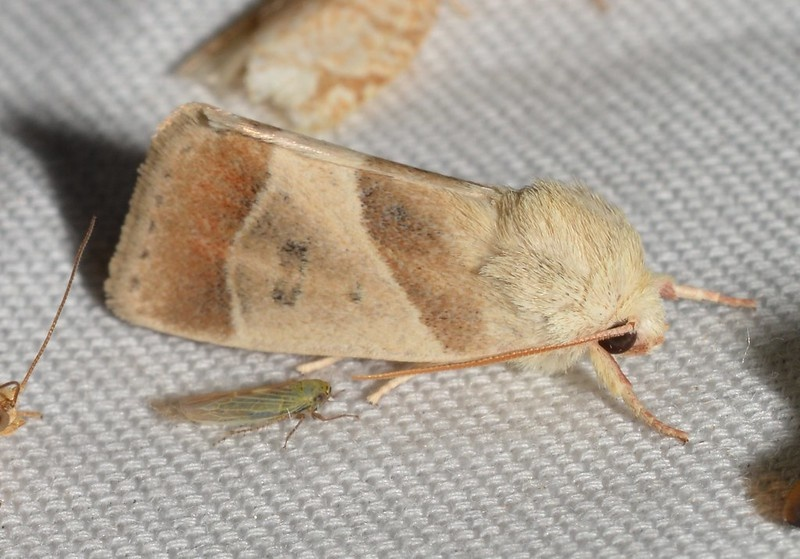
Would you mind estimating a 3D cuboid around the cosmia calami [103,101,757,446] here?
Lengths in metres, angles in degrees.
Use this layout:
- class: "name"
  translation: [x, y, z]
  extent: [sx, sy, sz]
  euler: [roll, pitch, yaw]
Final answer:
- class: "cosmia calami"
  translation: [-0.001, -0.042, 2.520]
  extent: [1.346, 0.199, 0.555]
  euler: [13, 83, 2]
